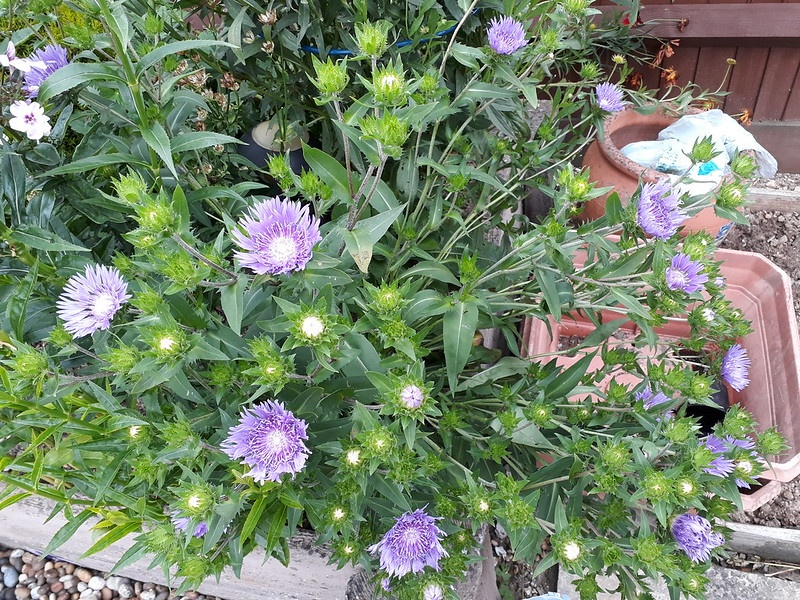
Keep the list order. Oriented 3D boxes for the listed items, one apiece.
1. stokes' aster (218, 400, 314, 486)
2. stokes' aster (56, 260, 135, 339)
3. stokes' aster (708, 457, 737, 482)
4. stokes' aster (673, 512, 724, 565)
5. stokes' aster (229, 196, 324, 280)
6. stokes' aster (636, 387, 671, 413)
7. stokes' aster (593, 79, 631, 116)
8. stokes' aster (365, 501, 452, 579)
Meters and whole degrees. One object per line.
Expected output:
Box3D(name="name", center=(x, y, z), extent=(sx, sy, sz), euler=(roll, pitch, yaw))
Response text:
Box3D(name="stokes' aster", center=(-0.344, 0.372, 1.623), extent=(0.216, 0.088, 0.238), euler=(10, 78, 5))
Box3D(name="stokes' aster", center=(-0.846, -0.002, 1.709), extent=(0.212, 0.090, 0.234), euler=(-7, 79, 3))
Box3D(name="stokes' aster", center=(0.947, 0.495, 1.808), extent=(0.068, 0.038, 0.073), euler=(-11, 39, 17))
Box3D(name="stokes' aster", center=(0.877, 0.694, 1.876), extent=(0.122, 0.076, 0.119), euler=(15, 41, 38))
Box3D(name="stokes' aster", center=(-0.316, -0.156, 1.565), extent=(0.194, 0.078, 0.211), euler=(-21, 80, 0))
Box3D(name="stokes' aster", center=(0.883, 0.341, 2.154), extent=(0.092, 0.054, 0.093), euler=(-8, 29, -22))
Box3D(name="stokes' aster", center=(0.790, -0.747, 2.322), extent=(0.124, 0.053, 0.128), euler=(-34, 104, -11))
Box3D(name="stokes' aster", center=(0.050, 0.676, 1.782), extent=(0.190, 0.179, 0.087), euler=(-17, 65, -33))
